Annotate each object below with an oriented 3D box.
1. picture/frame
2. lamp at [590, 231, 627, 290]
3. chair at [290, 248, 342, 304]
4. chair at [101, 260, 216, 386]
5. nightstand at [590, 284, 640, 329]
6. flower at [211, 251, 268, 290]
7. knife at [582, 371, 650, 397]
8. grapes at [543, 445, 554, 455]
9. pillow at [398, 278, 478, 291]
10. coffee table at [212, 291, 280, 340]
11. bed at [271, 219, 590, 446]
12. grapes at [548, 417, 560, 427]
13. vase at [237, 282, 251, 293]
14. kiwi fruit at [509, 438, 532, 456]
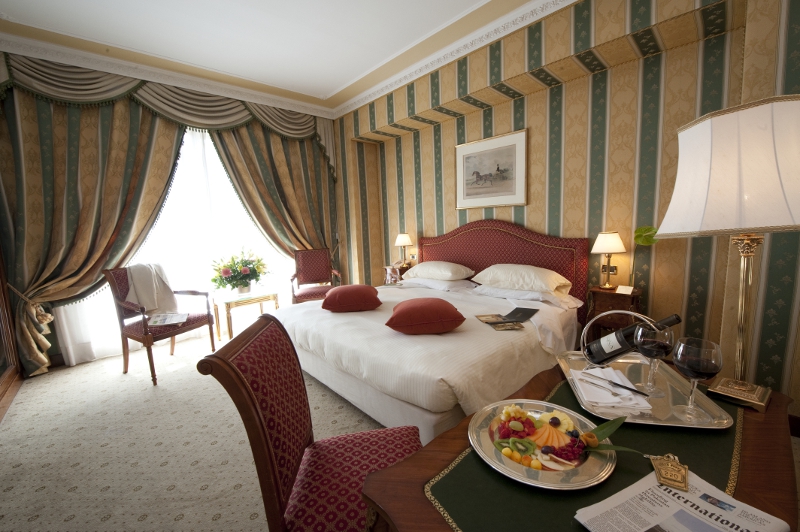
[{"bbox_3d":[1.137,-1.201,5.896,1.050,0.904,0.078,5,8,44],"label":"picture/frame"},{"bbox_3d":[2.154,-0.059,5.016,0.340,0.587,0.445,-2,6,24],"label":"lamp"},{"bbox_3d":[-1.134,0.256,6.655,0.717,0.954,0.698,-4,4,0],"label":"chair"},{"bbox_3d":[-2.676,0.598,5.419,1.071,1.211,1.178,-6,9,-24],"label":"chair"},{"bbox_3d":[2.184,0.462,5.003,0.459,0.455,0.342,5,11,28],"label":"nightstand"},{"bbox_3d":[-2.065,0.069,6.201,0.508,0.394,0.565,-1,6,12],"label":"flower"},{"bbox_3d":[1.388,0.781,3.130,0.333,0.019,0.047,17,49,34],"label":"knife"},{"bbox_3d":[0.865,1.089,2.821,0.041,0.015,0.043,-16,12,-23],"label":"grapes"},{"bbox_3d":[0.424,0.238,5.888,0.332,0.088,0.496,-7,6,-31],"label":"pillow"},{"bbox_3d":[-2.078,0.558,6.276,0.687,0.665,0.700,-1,4,0],"label":"coffee table"},{"bbox_3d":[0.278,0.361,5.230,2.911,1.510,2.986,-10,12,-35],"label":"bed"},{"bbox_3d":[0.929,0.953,2.916,0.054,0.057,0.030,3,14,-17],"label":"grapes"},{"bbox_3d":[-2.003,0.293,6.226,0.121,0.093,0.114,-2,7,-15],"label":"vase"},{"bbox_3d":[0.714,1.067,2.834,0.100,0.040,0.077,7,22,41],"label":"kiwi fruit"}]
